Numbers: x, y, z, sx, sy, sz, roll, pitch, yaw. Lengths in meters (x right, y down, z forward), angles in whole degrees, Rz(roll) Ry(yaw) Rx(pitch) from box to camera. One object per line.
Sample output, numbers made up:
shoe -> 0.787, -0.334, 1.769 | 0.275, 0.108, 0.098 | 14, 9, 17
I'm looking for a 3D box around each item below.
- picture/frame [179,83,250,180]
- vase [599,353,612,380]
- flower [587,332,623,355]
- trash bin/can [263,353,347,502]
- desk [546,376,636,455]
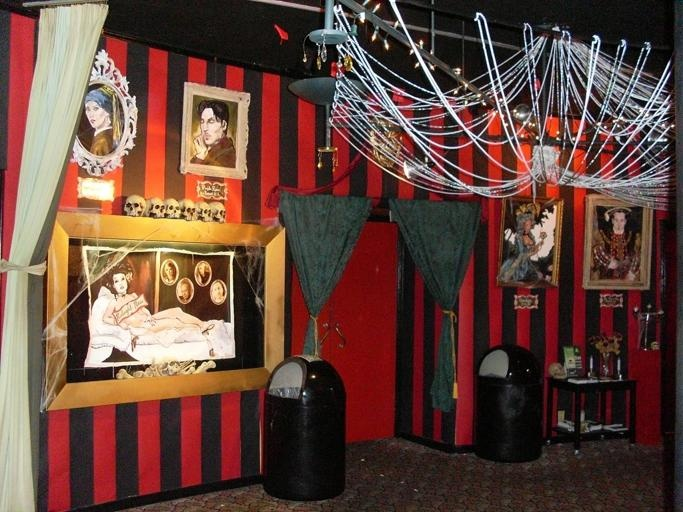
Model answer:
picture/frame -> -1.190, -1.146, 6.987 | 0.763, 1.034, 0.093 | 1, 0, -31
vase -> 2.987, 1.231, 8.615 | 0.135, 0.275, 0.334 | 3, 3, 19
flower -> 3.068, 0.999, 8.706 | 0.452, 0.247, 0.238 | 1, 3, -20
trash bin/can -> -0.324, 1.539, 6.837 | 0.725, 1.201, 0.376 | 2, 3, -7
desk -> 2.734, 1.588, 8.551 | 0.908, 1.006, 0.729 | 2, -4, -23
